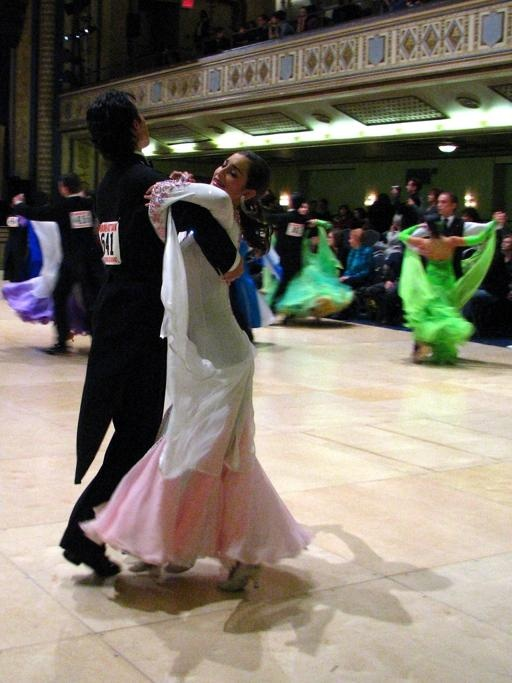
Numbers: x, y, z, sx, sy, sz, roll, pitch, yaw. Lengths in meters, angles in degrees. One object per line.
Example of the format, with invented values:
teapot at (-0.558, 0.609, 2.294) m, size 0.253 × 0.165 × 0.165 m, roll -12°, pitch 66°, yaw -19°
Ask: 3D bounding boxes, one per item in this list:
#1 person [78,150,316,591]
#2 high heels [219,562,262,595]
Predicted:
person at (-0.139, 0.086, 1.744) m, size 0.547 × 1.213 × 0.366 m, roll 3°, pitch 1°, yaw -40°
high heels at (-0.050, 0.718, 1.788) m, size 0.122 × 0.040 × 0.084 m, roll -6°, pitch -5°, yaw -36°
